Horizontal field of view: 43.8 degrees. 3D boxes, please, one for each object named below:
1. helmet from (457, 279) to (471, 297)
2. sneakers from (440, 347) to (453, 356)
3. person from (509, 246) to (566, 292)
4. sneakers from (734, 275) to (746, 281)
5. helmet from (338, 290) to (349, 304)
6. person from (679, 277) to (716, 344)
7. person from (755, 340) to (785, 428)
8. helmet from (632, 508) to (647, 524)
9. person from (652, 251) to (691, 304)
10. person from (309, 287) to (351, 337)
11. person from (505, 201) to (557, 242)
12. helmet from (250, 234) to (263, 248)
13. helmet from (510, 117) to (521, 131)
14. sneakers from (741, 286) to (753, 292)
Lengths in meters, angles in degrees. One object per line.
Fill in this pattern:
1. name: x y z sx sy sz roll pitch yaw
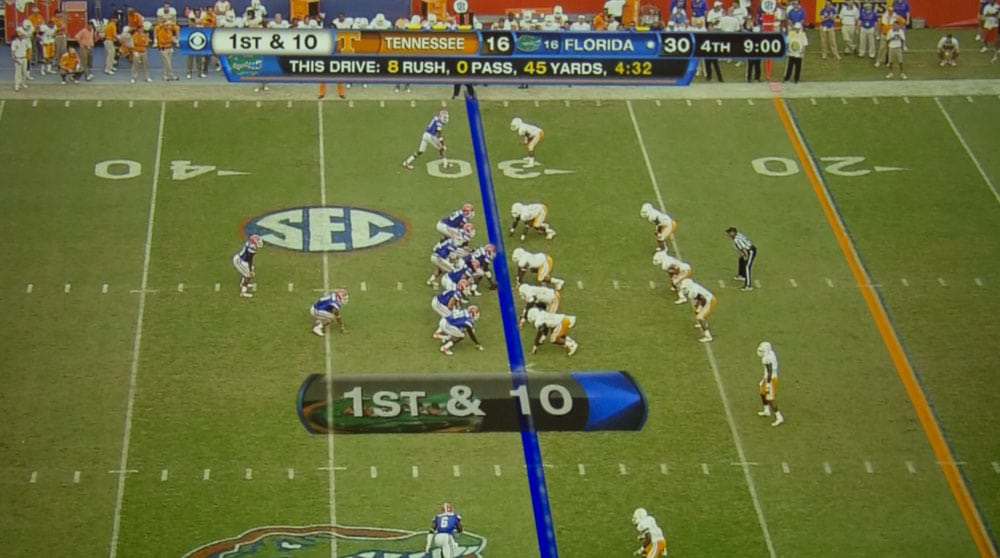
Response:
1. helmet: -1.146 0.317 37.910 0.245 0.370 0.460 -22 72 5
2. sneakers: -1.637 2.228 37.957 0.368 0.124 0.194 31 65 24
3. person: 1.280 -0.373 39.468 1.901 1.062 1.106 10 54 -6
4. sneakers: 7.803 0.013 40.596 0.359 0.103 0.151 -1 -6 42
5. helmet: -4.917 0.591 37.998 0.488 0.370 0.352 -2 1 13
6. person: 6.117 1.121 38.909 1.325 2.061 1.006 -5 44 22
7. person: 7.953 3.256 36.909 1.127 2.577 1.277 -4 41 2
8. helmet: 3.743 6.274 32.950 0.398 0.465 0.426 13 79 10
9. person: 5.419 0.059 39.731 1.247 1.615 0.726 -16 40 23
10. person: -5.302 1.134 38.689 1.071 1.216 0.834 -6 57 -30
11. person: 1.022 -1.944 41.278 1.870 1.332 0.953 1 51 0
12. helmet: -7.779 -1.138 39.573 0.386 0.416 0.442 6 7 9
13. helmet: 0.542 -5.384 43.718 0.460 0.431 0.535 0 -1 1
14. sneakers: 8.006 0.381 40.390 0.371 0.122 0.127 2 9 -7
